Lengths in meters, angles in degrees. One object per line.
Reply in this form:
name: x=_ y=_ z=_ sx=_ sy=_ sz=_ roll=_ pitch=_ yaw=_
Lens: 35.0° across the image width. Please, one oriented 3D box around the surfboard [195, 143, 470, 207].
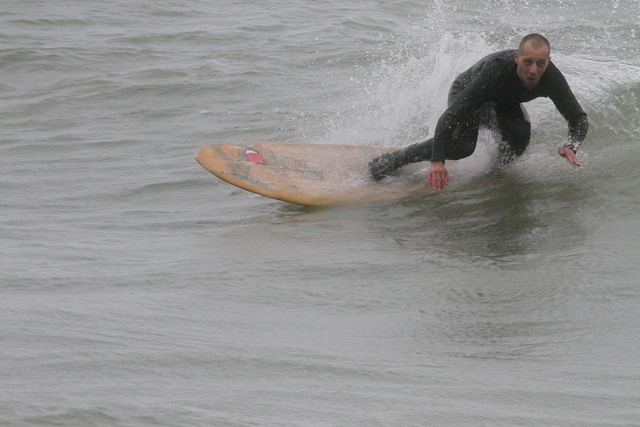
surfboard: x=-0.063 y=-0.427 z=11.224 sx=4.017 sy=0.312 sz=0.799 roll=2 pitch=39 yaw=0
